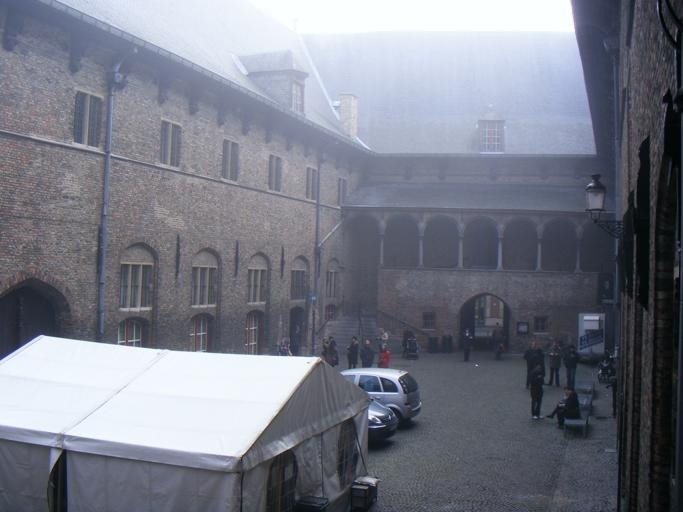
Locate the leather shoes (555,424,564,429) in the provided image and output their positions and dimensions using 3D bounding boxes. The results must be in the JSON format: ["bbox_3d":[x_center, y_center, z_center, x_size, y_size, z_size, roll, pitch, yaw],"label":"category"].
[{"bbox_3d":[6.131,4.710,21.801,0.199,0.209,0.112,4,6,33],"label":"leather shoes"}]

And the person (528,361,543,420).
[{"bbox_3d":[5.756,3.983,22.822,0.392,1.503,0.937,-2,-4,14],"label":"person"}]

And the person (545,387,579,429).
[{"bbox_3d":[6.430,4.300,22.332,1.161,1.561,0.670,-1,-2,17],"label":"person"}]

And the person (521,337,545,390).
[{"bbox_3d":[6.544,3.577,26.382,0.627,1.848,0.611,-3,28,5],"label":"person"}]

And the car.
[{"bbox_3d":[1.340,4.079,22.112,2.556,1.310,1.514,3,-1,12],"label":"car"}]

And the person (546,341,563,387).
[{"bbox_3d":[8.037,4.057,29.299,0.510,1.553,1.873,-2,-5,15],"label":"person"}]

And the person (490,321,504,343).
[{"bbox_3d":[9.253,4.466,46.372,0.804,1.542,1.572,-1,0,16],"label":"person"}]
